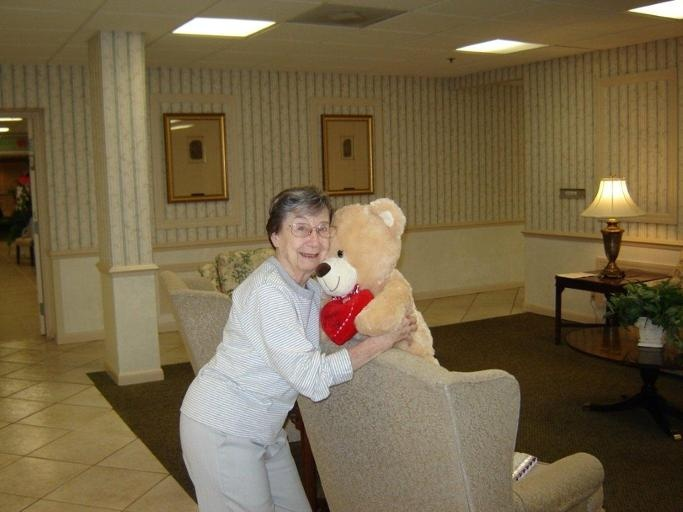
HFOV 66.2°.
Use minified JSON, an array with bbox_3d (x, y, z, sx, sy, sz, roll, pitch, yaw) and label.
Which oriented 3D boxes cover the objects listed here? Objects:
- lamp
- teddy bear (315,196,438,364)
[{"bbox_3d":[3.171,-0.339,6.005,0.853,1.113,0.565,-8,11,-34],"label":"lamp"},{"bbox_3d":[0.125,0.105,2.238,0.506,0.714,0.545,-22,23,-39],"label":"teddy bear"}]
